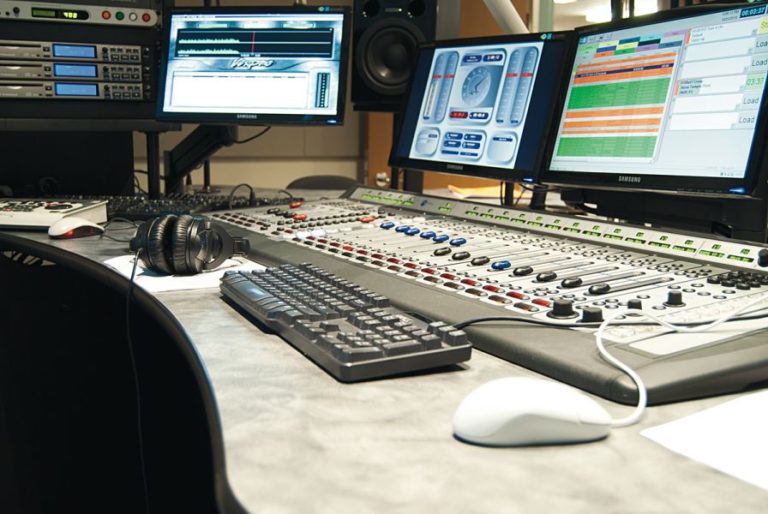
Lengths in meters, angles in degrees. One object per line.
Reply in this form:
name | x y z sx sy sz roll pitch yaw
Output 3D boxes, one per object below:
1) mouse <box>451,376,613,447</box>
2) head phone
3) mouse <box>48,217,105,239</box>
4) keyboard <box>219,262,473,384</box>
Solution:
mouse | 0.159 0.168 0.602 0.158 0.034 0.075 -1 8 -3
head phone | -0.434 -0.031 1.213 0.229 0.084 0.217 2 4 12
mouse | -0.814 -0.080 1.460 0.066 0.028 0.110 11 13 42
keyboard | -0.058 0.095 0.804 0.173 0.042 0.400 -12 17 -32
